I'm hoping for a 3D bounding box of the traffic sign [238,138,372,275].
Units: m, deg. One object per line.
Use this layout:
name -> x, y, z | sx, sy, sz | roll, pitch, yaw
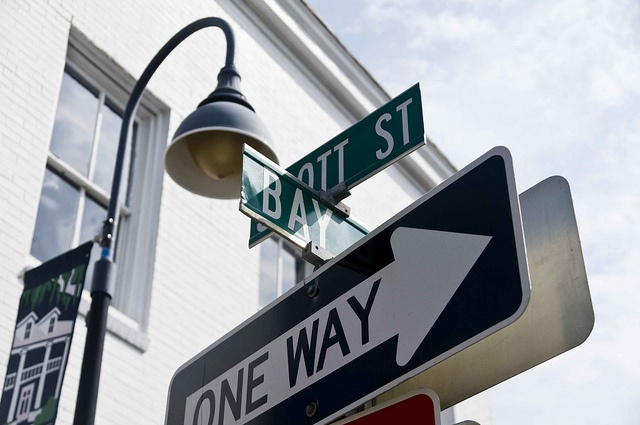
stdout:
traffic sign -> -0.165, 0.033, 5.708 | 0.138, 0.714, 1.366 | -19, -17, 16
